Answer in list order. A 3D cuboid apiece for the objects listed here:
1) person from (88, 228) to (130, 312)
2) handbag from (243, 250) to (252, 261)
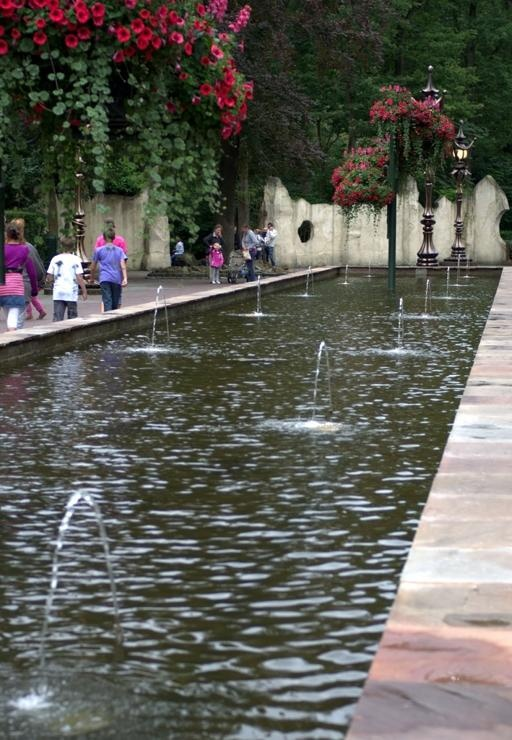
[{"bbox_3d":[-1.794,-1.254,14.399,0.373,1.025,0.539,-2,5,-2],"label":"person"},{"bbox_3d":[-0.177,-2.522,25.462,0.167,0.213,0.070,-2,0,28],"label":"handbag"}]
